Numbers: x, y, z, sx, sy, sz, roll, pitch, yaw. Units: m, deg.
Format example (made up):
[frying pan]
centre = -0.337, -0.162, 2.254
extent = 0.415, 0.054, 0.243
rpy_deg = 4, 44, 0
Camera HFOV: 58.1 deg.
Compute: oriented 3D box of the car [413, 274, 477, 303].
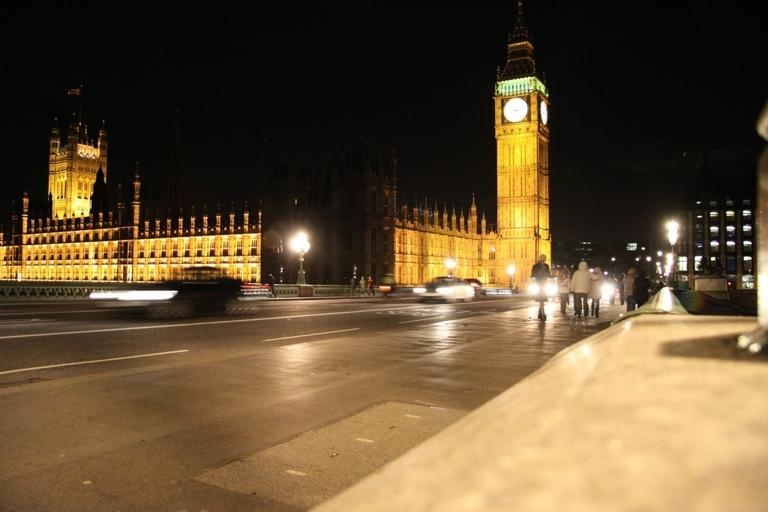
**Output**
[car]
centre = 3.216, 1.445, 32.573
extent = 1.348, 0.820, 2.685
rpy_deg = -6, -11, 33
